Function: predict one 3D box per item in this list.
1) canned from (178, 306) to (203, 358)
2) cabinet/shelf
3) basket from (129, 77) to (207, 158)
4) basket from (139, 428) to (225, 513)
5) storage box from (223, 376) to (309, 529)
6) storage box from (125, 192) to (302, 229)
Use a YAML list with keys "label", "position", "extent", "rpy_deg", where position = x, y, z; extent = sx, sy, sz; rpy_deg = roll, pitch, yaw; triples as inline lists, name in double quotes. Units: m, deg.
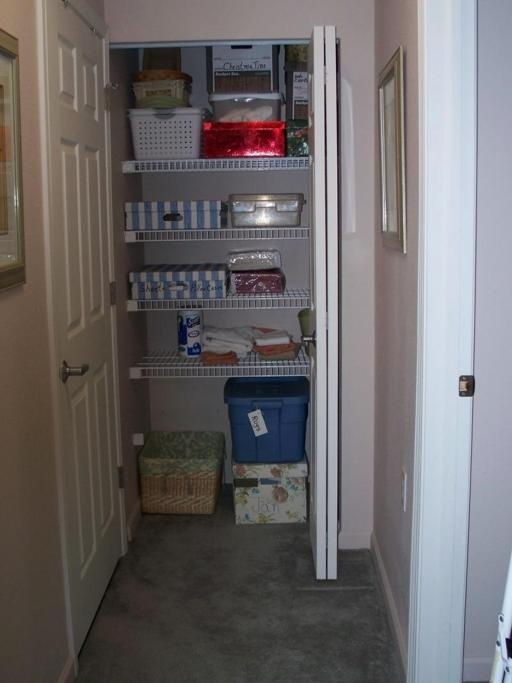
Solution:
- label: "canned"
  position: [-0.322, -0.068, 2.917]
  extent: [0.120, 0.261, 0.142]
  rpy_deg: [3, 27, 1]
- label: "cabinet/shelf"
  position: [-0.184, -0.373, 2.773]
  extent: [0.785, 0.962, 0.293]
  rpy_deg: [0, 4, -4]
- label: "basket"
  position: [-0.392, -1.006, 2.648]
  extent: [0.214, 0.194, 0.396]
  rpy_deg: [0, 29, -2]
- label: "basket"
  position: [-0.363, 0.665, 3.032]
  extent: [0.406, 0.319, 0.420]
  rpy_deg: [0, 7, -3]
- label: "storage box"
  position: [0.077, 0.492, 3.081]
  extent: [0.470, 0.914, 0.483]
  rpy_deg: [-2, 9, -2]
- label: "storage box"
  position: [-0.185, -0.583, 2.682]
  extent: [0.778, 0.175, 0.173]
  rpy_deg: [-1, 7, -9]
